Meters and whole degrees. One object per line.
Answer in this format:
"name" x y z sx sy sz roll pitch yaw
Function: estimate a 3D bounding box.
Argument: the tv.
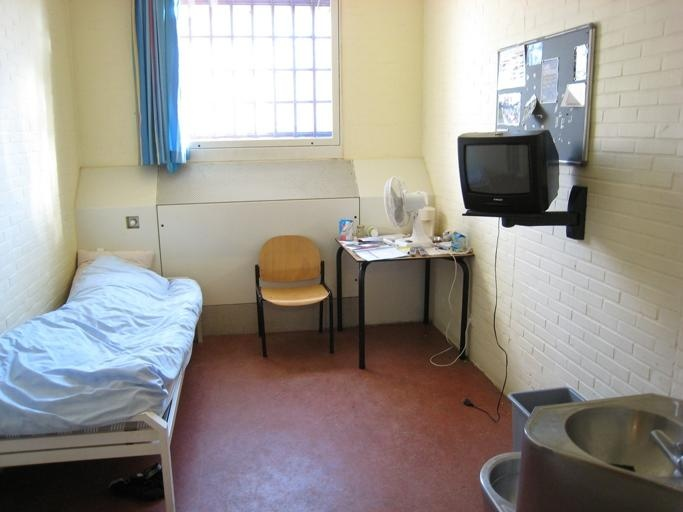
"tv" 0.902 -0.515 2.893 0.489 0.476 0.366 8 30 36

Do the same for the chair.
"chair" -0.377 0.312 4.115 0.598 0.899 0.625 -2 7 -2

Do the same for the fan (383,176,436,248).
"fan" 0.483 -0.329 3.981 0.371 0.580 0.360 0 0 -10

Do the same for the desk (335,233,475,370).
"desk" 0.446 0.179 4.095 0.893 0.886 0.954 -2 12 -10

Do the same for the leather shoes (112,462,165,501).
"leather shoes" -1.031 1.163 2.704 0.247 0.102 0.150 5 4 -10
